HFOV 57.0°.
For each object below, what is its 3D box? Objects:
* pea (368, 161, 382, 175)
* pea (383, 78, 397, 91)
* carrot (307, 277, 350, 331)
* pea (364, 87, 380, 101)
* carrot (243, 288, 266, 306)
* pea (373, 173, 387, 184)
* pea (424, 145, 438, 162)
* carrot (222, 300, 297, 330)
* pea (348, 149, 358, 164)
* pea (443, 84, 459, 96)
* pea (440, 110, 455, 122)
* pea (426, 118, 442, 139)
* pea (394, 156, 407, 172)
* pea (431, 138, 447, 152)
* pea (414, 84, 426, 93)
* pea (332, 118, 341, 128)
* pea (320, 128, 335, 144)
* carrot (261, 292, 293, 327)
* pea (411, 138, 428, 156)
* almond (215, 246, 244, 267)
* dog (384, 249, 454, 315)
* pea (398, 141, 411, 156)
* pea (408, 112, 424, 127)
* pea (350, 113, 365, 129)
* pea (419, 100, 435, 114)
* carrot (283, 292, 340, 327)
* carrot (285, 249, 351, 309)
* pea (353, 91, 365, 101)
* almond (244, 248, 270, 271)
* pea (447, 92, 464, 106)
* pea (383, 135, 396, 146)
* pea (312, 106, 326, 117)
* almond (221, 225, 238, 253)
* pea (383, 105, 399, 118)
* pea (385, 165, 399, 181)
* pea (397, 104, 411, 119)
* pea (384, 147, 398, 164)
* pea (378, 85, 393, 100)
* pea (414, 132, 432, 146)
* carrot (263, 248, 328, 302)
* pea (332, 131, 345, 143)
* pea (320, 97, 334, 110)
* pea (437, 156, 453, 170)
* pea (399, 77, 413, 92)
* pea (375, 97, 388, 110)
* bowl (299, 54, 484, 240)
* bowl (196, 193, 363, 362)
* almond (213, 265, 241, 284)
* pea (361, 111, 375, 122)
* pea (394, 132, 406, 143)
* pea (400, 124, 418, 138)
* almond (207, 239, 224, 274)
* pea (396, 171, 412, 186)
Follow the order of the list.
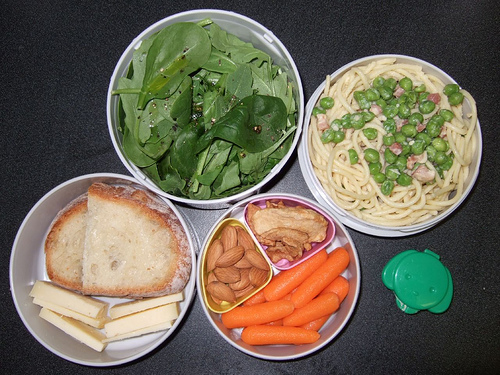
[{"bbox_3d":[0.623,-0.094,2.275,0.071,0.048,0.054,-3,68,0],"label":"pea"},{"bbox_3d":[0.702,-0.516,2.288,0.044,0.034,0.062,6,51,8],"label":"pea"},{"bbox_3d":[0.376,0.558,2.235,0.293,0.086,0.093,-40,103,1],"label":"carrot"},{"bbox_3d":[0.605,-0.456,2.272,0.054,0.071,0.041,8,59,4],"label":"pea"},{"bbox_3d":[0.020,0.553,2.295,0.118,0.040,0.059,-30,92,-6],"label":"carrot"},{"bbox_3d":[0.642,-0.045,2.267,0.045,0.038,0.041,-4,75,8],"label":"pea"},{"bbox_3d":[0.892,-0.164,2.241,0.049,0.026,0.073,-7,92,6],"label":"pea"},{"bbox_3d":[0.046,0.630,2.264,0.364,0.108,0.116,-11,35,-3],"label":"carrot"},{"bbox_3d":[0.506,-0.151,2.255,0.041,0.031,0.060,-4,84,-12],"label":"pea"},{"bbox_3d":[0.985,-0.477,2.250,0.056,0.036,0.049,-6,87,11],"label":"pea"},{"bbox_3d":[0.964,-0.351,2.243,0.044,0.033,0.057,-39,47,-15],"label":"pea"},{"bbox_3d":[0.893,-0.287,2.234,0.056,0.046,0.087,-5,93,8],"label":"pea"},{"bbox_3d":[0.749,-0.114,2.260,0.051,0.037,0.072,1,90,3],"label":"pea"},{"bbox_3d":[0.928,-0.207,2.250,0.051,0.031,0.081,-34,72,-12],"label":"pea"},{"bbox_3d":[0.847,-0.487,2.275,0.032,0.043,0.022,-10,90,-31],"label":"pea"},{"bbox_3d":[0.433,-0.323,2.280,0.049,0.025,0.044,18,70,8],"label":"pea"},{"bbox_3d":[0.389,-0.251,2.286,0.076,0.056,0.050,-26,70,-9],"label":"pea"},{"bbox_3d":[0.134,0.605,2.275,0.098,0.132,0.076,9,43,-37],"label":"carrot"},{"bbox_3d":[0.822,-0.196,2.259,0.048,0.059,0.081,43,108,40],"label":"pea"},{"bbox_3d":[-0.098,0.325,2.218,0.141,0.047,0.075,-35,95,-3],"label":"almond"},{"bbox_3d":[0.885,0.480,2.388,0.388,0.208,0.316,-3,69,0],"label":"dog"},{"bbox_3d":[0.772,-0.194,2.281,0.051,0.031,0.080,9,69,5],"label":"pea"},{"bbox_3d":[0.820,-0.335,2.270,0.066,0.040,0.063,-35,72,-12],"label":"pea"},{"bbox_3d":[0.530,-0.327,2.267,0.071,0.041,0.072,-24,70,-8],"label":"pea"},{"bbox_3d":[0.872,-0.393,2.261,0.062,0.053,0.056,4,65,11],"label":"pea"},{"bbox_3d":[0.305,0.603,2.236,0.299,0.129,0.088,-24,69,-8],"label":"carrot"},{"bbox_3d":[0.329,0.447,2.245,0.083,0.081,0.310,43,89,-9],"label":"carrot"},{"bbox_3d":[0.543,-0.450,2.283,0.053,0.029,0.052,7,69,4],"label":"pea"},{"bbox_3d":[0.032,0.350,2.274,0.068,0.048,0.139,-43,86,-12],"label":"almond"},{"bbox_3d":[1.010,-0.433,2.254,0.062,0.039,0.052,-23,92,26],"label":"pea"},{"bbox_3d":[0.686,-0.230,2.271,0.046,0.044,0.045,1,96,11],"label":"pea"},{"bbox_3d":[0.354,-0.383,2.288,0.049,0.025,0.052,27,59,22],"label":"pea"},{"bbox_3d":[-0.102,0.246,2.238,0.067,0.030,0.123,0,83,3],"label":"almond"},{"bbox_3d":[0.704,-0.381,2.288,0.074,0.029,0.060,-28,71,-10],"label":"pea"},{"bbox_3d":[0.701,-0.074,2.263,0.064,0.043,0.069,1,69,2],"label":"pea"},{"bbox_3d":[0.763,-0.371,2.267,0.046,0.037,0.071,-1,95,11],"label":"pea"},{"bbox_3d":[0.692,-0.150,2.265,0.052,0.040,0.076,-8,73,-37],"label":"pea"},{"bbox_3d":[0.676,-0.470,2.281,0.052,0.035,0.070,-31,74,11],"label":"pea"},{"bbox_3d":[0.843,-0.238,2.255,0.048,0.060,0.035,37,86,34],"label":"pea"},{"bbox_3d":[0.292,0.428,2.335,0.177,0.568,0.180,46,61,-7],"label":"carrot"},{"bbox_3d":[0.439,-0.250,2.280,0.043,0.035,0.037,-19,76,3],"label":"pea"},{"bbox_3d":[0.383,-0.416,2.271,0.050,0.032,0.058,8,87,1],"label":"pea"},{"bbox_3d":[0.969,-0.108,2.284,0.030,0.058,0.061,49,39,-12],"label":"pea"},{"bbox_3d":[0.775,-0.512,2.282,0.049,0.037,0.071,-1,88,0],"label":"pea"},{"bbox_3d":[0.657,-0.419,2.301,0.053,0.031,0.043,34,85,29],"label":"pea"},{"bbox_3d":[0.701,-0.175,2.358,0.871,0.435,0.845,0,69,1],"label":"bowl"},{"bbox_3d":[0.172,0.445,2.265,0.807,0.260,0.862,-18,36,13],"label":"bowl"},{"bbox_3d":[-0.110,0.424,2.195,0.100,0.038,0.084,10,85,-4],"label":"almond"},{"bbox_3d":[0.584,-0.352,2.266,0.049,0.023,0.051,39,85,17],"label":"pea"},{"bbox_3d":[0.742,-0.245,2.269,0.042,0.045,0.048,-2,99,2],"label":"pea"},{"bbox_3d":[0.781,-0.277,2.256,0.068,0.056,0.055,-32,56,-4],"label":"pea"},{"bbox_3d":[-0.173,0.333,2.224,0.042,0.064,0.150,6,84,47],"label":"almond"},{"bbox_3d":[0.752,-0.048,2.241,0.049,0.069,0.041,-29,109,-5],"label":"pea"}]
